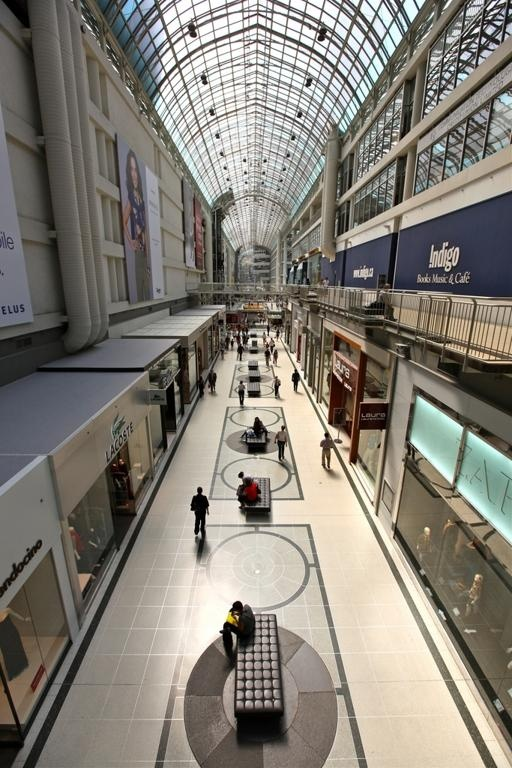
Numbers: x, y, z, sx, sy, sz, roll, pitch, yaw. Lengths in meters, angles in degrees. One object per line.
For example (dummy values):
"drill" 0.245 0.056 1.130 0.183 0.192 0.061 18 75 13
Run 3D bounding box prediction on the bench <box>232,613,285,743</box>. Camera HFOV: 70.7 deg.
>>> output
"bench" 0.045 3.605 4.684 0.623 0.799 1.108 0 9 0

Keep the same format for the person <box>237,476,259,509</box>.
"person" -0.213 2.741 9.099 0.328 1.145 0.661 -5 44 -7

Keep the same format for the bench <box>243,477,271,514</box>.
"bench" 0.129 2.613 9.204 0.436 0.329 1.462 3 26 3

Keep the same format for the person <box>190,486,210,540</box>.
"person" -1.277 2.813 8.193 0.359 1.288 0.368 7 26 5

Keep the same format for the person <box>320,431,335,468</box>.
"person" 2.285 1.984 11.659 0.353 1.352 1.753 1 9 11

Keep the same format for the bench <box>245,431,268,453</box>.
"bench" -0.019 2.043 13.107 0.832 0.597 0.801 -1 9 -8

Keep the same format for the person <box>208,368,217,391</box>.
"person" -2.533 -0.167 20.666 0.384 1.090 0.869 -1 9 -9

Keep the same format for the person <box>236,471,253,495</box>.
"person" -0.330 2.610 9.538 0.324 0.676 1.239 3 -25 -4

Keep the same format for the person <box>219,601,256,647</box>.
"person" -0.272 3.383 5.159 0.385 0.894 0.374 10 23 7

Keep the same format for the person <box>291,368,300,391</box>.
"person" 2.277 -0.265 20.972 0.310 1.211 2.084 1 10 10
